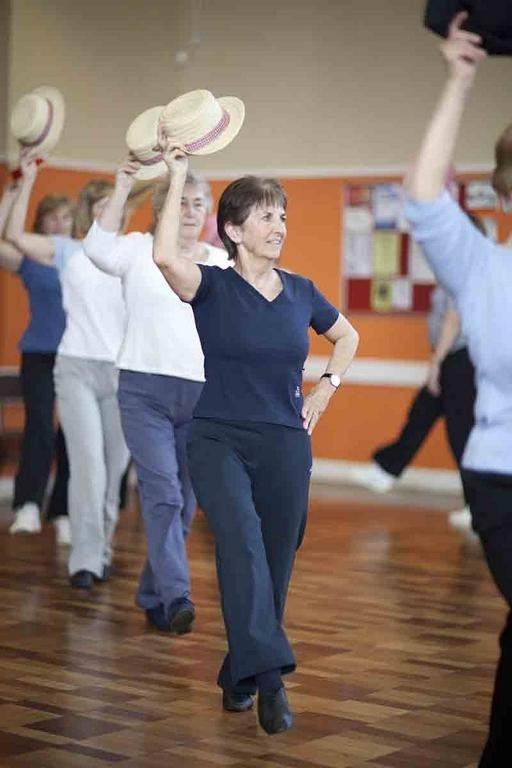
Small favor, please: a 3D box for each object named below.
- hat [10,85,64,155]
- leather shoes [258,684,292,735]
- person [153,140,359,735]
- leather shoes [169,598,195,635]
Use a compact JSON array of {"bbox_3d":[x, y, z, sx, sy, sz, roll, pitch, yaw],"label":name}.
[{"bbox_3d":[-0.831,-1.002,3.145,0.245,0.242,0.118,21,39,29],"label":"hat"},{"bbox_3d":[0.033,0.692,1.768,0.067,0.047,0.119,-14,4,-6],"label":"leather shoes"},{"bbox_3d":[-0.024,0.181,1.872,0.457,1.298,0.845,4,33,6],"label":"person"},{"bbox_3d":[-0.217,0.671,2.387,0.057,0.139,0.059,4,58,-9],"label":"leather shoes"}]
